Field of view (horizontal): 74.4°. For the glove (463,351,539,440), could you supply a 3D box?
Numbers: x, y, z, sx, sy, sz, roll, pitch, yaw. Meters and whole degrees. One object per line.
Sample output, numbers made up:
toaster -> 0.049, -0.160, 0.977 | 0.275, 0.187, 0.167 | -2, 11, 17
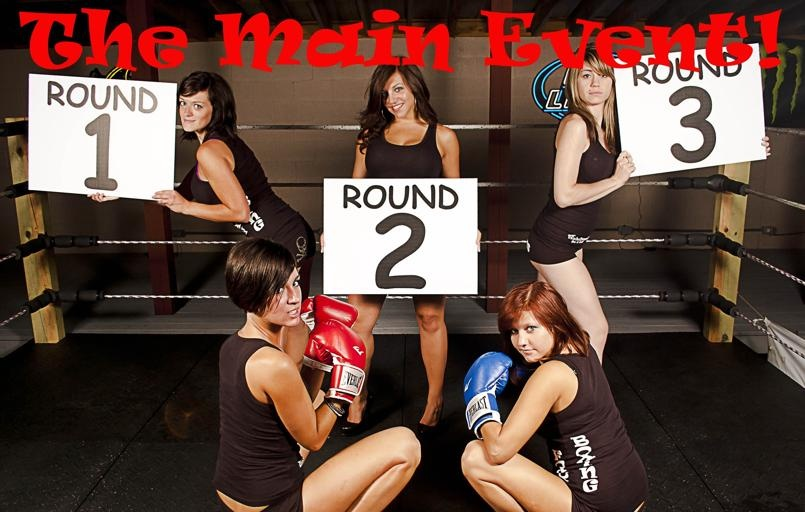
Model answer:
glove -> 0.411, 0.637, 2.279 | 0.259, 0.142, 0.336 | -32, 36, 13

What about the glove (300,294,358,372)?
glove -> -0.292, 0.324, 2.201 | 0.234, 0.164, 0.330 | 8, 47, -15
